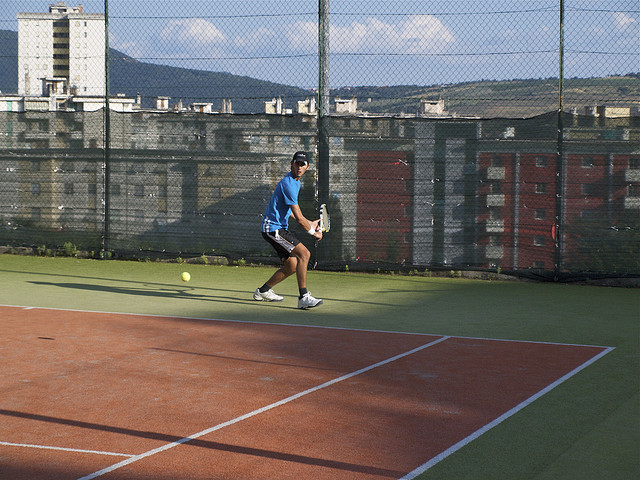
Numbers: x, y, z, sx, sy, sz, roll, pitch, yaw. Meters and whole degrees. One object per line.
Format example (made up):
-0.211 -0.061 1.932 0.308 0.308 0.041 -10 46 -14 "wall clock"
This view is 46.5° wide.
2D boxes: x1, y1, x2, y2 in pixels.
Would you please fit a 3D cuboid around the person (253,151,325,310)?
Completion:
-0.364 -0.130 9.602 0.605 2.040 0.859 -6 10 -40 "person"

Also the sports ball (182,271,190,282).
-2.079 0.567 11.411 0.168 0.153 0.153 4 2 0 "sports ball"

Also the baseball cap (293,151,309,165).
-0.247 -1.050 9.353 0.186 0.151 0.264 0 7 -5 "baseball cap"
